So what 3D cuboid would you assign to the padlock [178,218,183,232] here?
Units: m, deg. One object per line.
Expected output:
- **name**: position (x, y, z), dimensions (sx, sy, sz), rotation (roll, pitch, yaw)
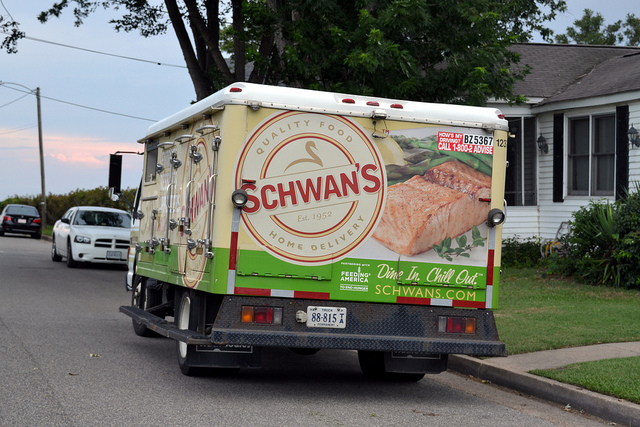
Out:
- **padlock**: position (-2.148, 0.178, 9.565), dimensions (0.034, 0.212, 0.232), rotation (-2, 6, -26)
